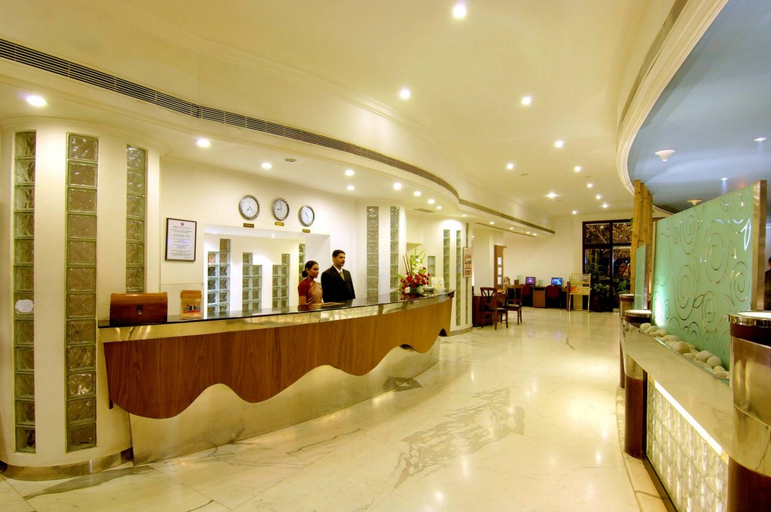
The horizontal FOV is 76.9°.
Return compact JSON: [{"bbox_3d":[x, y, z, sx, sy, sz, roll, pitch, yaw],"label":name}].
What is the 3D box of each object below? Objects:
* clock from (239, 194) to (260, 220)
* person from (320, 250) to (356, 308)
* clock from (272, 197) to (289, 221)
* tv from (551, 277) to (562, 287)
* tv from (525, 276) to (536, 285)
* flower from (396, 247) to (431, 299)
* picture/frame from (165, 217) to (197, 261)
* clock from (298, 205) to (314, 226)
[{"bbox_3d":[-2.091,-0.747,7.376,0.051,0.388,0.391,-7,-8,33],"label":"clock"},{"bbox_3d":[-0.728,0.298,7.185,0.498,0.816,1.447,-2,10,-6],"label":"person"},{"bbox_3d":[-1.708,-0.757,7.789,0.055,0.376,0.382,-4,-3,26],"label":"clock"},{"bbox_3d":[6.196,0.935,17.727,0.408,0.386,0.295,-1,-7,39],"label":"tv"},{"bbox_3d":[5.468,0.962,18.281,0.281,0.374,0.389,10,-10,-43],"label":"tv"},{"bbox_3d":[0.476,0.314,8.411,0.650,0.987,0.689,3,4,29],"label":"flower"},{"bbox_3d":[-2.839,-0.225,6.671,0.074,0.744,0.546,-5,-9,33],"label":"picture/frame"},{"bbox_3d":[-1.348,-0.679,8.246,0.071,0.358,0.384,4,11,27],"label":"clock"}]
